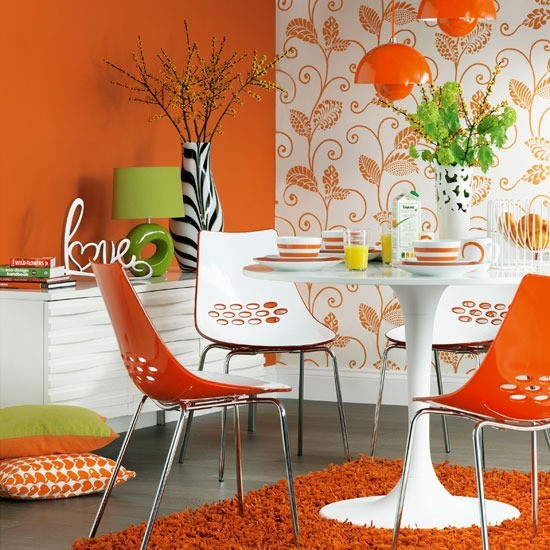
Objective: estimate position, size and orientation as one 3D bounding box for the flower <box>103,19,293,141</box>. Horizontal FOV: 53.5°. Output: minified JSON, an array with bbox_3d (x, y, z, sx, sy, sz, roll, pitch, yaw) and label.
[{"bbox_3d":[-0.503,-0.990,3.261,0.861,0.649,0.899,6,13,35],"label":"flower"}]

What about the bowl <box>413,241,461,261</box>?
[{"bbox_3d":[0.372,-0.054,1.243,0.100,0.055,0.088,-1,-4,2],"label":"bowl"}]

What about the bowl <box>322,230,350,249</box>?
[{"bbox_3d":[0.190,-0.115,1.813,0.083,0.047,0.079,1,4,0],"label":"bowl"}]

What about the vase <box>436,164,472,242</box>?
[{"bbox_3d":[0.519,-0.207,1.582,0.100,0.230,0.105,-2,-4,16],"label":"vase"}]

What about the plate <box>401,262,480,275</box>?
[{"bbox_3d":[0.390,-0.012,1.228,0.198,0.030,0.136,0,-4,-3],"label":"plate"}]

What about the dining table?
[{"bbox_3d":[0.307,0.334,1.530,0.903,0.556,0.825,-1,-3,3],"label":"dining table"}]
